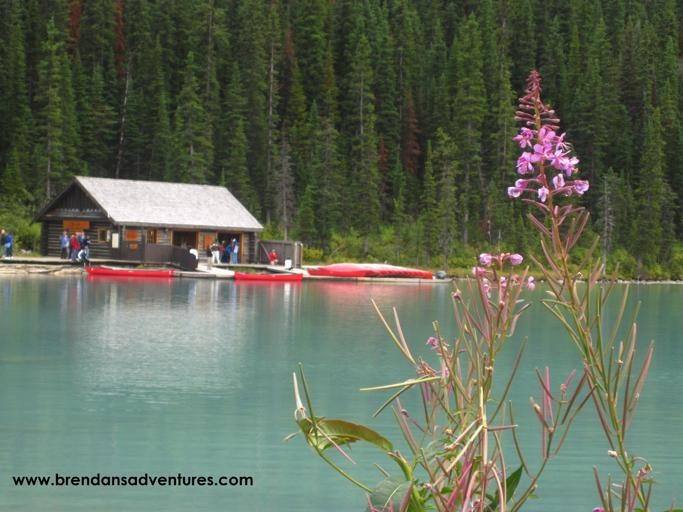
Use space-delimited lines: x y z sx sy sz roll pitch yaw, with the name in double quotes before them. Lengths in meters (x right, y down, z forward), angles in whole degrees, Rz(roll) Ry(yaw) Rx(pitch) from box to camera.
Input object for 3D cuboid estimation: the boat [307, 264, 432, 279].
"boat" 2.449 1.100 122.993 10.446 1.408 4.964 -1 -2 -5
